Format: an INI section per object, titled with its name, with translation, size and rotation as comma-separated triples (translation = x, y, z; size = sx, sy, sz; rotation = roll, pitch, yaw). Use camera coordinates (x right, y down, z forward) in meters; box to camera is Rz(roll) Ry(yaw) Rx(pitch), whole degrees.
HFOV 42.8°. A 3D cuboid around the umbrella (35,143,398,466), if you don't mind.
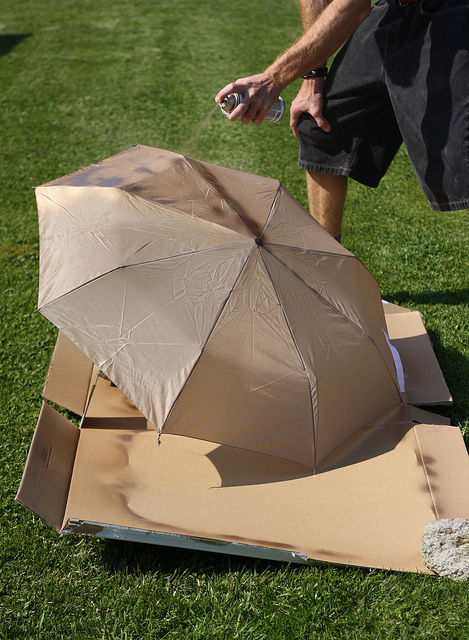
[umbrella]
translation = -0.077, -0.060, 2.276
size = 1.068, 0.565, 1.363
rotation = -34, 61, -26
